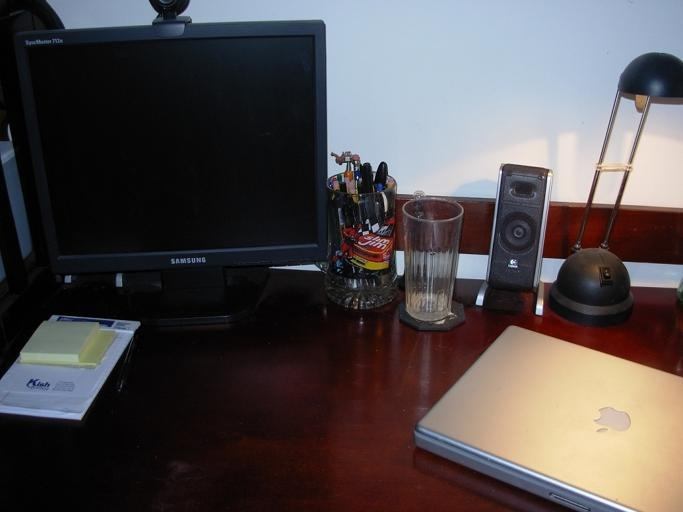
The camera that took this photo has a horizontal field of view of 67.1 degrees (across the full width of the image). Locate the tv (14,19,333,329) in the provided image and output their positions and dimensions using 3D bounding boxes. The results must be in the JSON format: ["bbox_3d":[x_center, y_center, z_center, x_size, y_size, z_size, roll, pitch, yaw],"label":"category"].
[{"bbox_3d":[-0.309,-0.158,0.939,0.537,0.554,0.196,-2,26,-3],"label":"tv"}]
